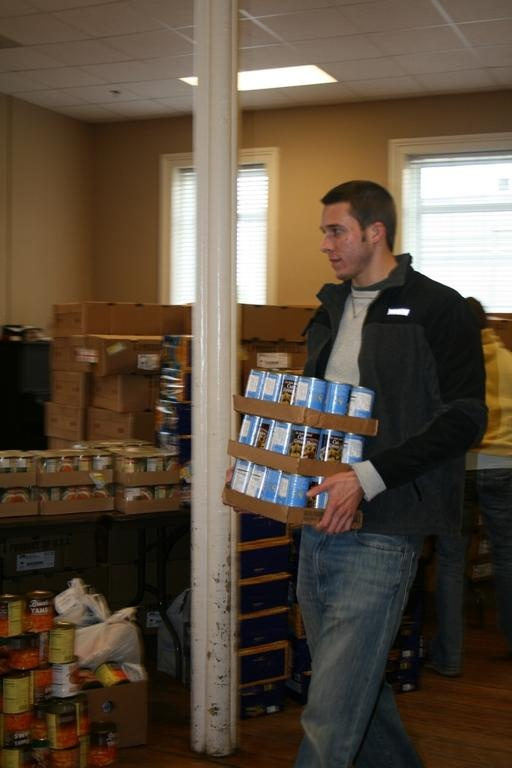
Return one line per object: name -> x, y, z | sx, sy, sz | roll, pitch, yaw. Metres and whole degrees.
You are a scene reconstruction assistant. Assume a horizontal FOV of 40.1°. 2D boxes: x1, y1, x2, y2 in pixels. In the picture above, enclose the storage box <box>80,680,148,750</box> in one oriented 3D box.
storage box -> -0.464, 1.038, 2.221 | 0.233, 0.195, 0.156 | -2, -1, -22
